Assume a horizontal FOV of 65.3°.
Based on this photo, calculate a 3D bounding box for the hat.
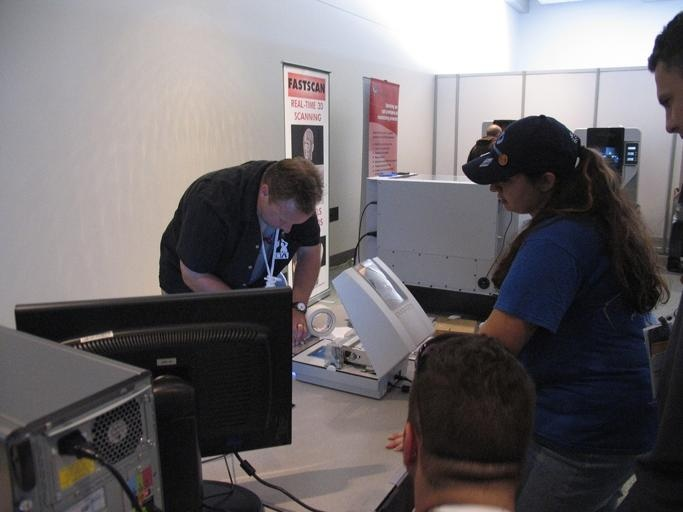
[{"bbox_3d":[0.515,-0.298,1.533,0.263,0.146,0.173,5,35,19],"label":"hat"}]

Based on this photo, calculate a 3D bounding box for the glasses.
[{"bbox_3d":[0.200,0.250,1.018,0.174,0.200,0.054,2,-1,13],"label":"glasses"}]

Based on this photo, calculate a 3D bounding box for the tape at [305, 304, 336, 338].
[{"bbox_3d":[-0.080,0.262,2.141,0.142,0.151,0.042,-13,14,-12],"label":"tape"}]

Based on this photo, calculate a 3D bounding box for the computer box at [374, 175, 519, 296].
[{"bbox_3d":[0.481,-0.046,2.748,0.721,0.534,0.404,7,-12,9],"label":"computer box"}]

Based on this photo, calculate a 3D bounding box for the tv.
[{"bbox_3d":[-0.418,0.324,1.230,0.574,0.468,0.165,-4,18,-19],"label":"tv"}]

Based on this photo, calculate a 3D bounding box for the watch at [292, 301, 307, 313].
[{"bbox_3d":[-0.164,0.219,2.166,0.051,0.035,0.055,-8,-25,34],"label":"watch"}]
